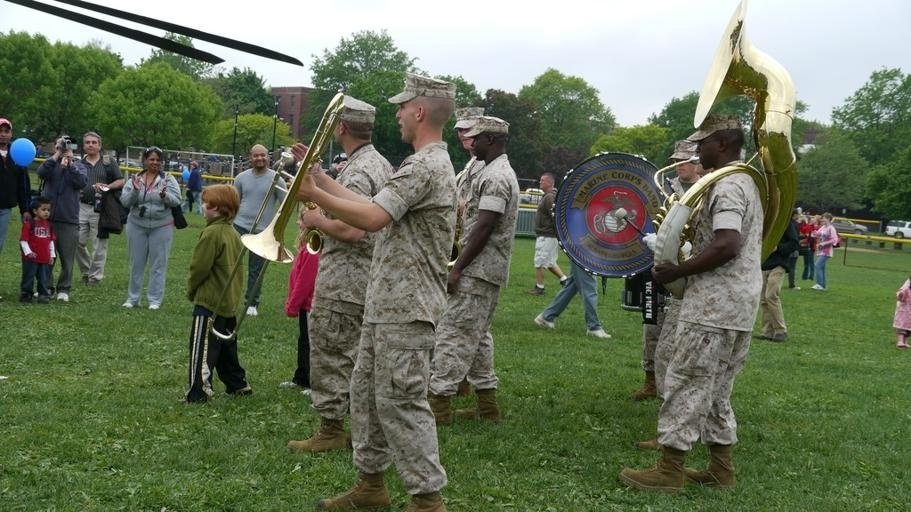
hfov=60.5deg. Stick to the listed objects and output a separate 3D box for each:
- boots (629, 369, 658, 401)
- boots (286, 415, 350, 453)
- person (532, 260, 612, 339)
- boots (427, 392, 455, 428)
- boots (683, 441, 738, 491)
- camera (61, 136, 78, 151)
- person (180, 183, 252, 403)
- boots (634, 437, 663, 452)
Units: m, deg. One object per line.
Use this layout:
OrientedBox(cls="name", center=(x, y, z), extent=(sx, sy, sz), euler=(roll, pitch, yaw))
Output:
OrientedBox(cls="boots", center=(2.680, 1.877, 10.996), extent=(0.558, 0.444, 0.237), euler=(2, -2, 3))
OrientedBox(cls="boots", center=(-1.626, 2.198, 9.299), extent=(0.716, 0.449, 0.517), euler=(-1, -1, -11))
OrientedBox(cls="person", center=(2.240, 0.774, 13.996), extent=(0.916, 1.529, 1.590), euler=(-1, 0, 40))
OrientedBox(cls="boots", center=(-0.189, 1.975, 10.116), extent=(0.321, 0.383, 0.415), euler=(0, -2, -1))
OrientedBox(cls="boots", center=(2.984, 2.470, 9.211), extent=(0.650, 0.526, 0.462), euler=(0, -2, 2))
OrientedBox(cls="camera", center=(-6.909, -2.006, 13.941), extent=(0.417, 0.215, 0.426), euler=(1, 0, -33))
OrientedBox(cls="person", center=(-3.123, 0.518, 9.884), extent=(1.215, 2.859, 1.118), euler=(0, 0, 9))
OrientedBox(cls="boots", center=(2.378, 2.346, 9.680), extent=(0.379, 0.212, 0.126), euler=(2, -8, 19))
